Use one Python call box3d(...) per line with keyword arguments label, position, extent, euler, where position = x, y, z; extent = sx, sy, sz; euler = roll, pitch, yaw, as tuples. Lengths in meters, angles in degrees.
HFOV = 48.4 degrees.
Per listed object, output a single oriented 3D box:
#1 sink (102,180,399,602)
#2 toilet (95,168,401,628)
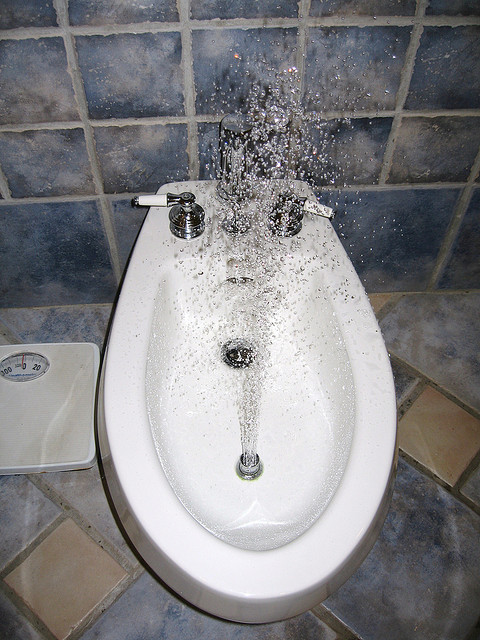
box3d(label="sink", position=(0.012, 0.080, 0.607), extent=(0.243, 0.238, 0.441), euler=(0, 54, 0))
box3d(label="toilet", position=(0.028, 0.065, 0.729), extent=(0.329, 0.339, 0.608), euler=(0, 55, 0))
